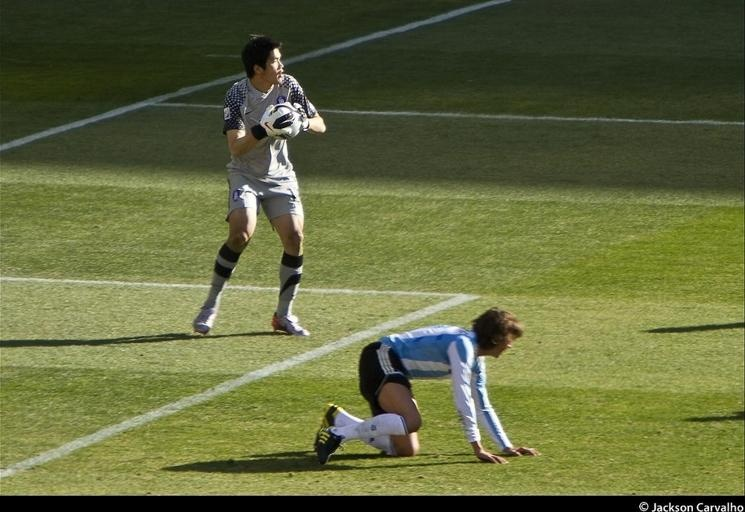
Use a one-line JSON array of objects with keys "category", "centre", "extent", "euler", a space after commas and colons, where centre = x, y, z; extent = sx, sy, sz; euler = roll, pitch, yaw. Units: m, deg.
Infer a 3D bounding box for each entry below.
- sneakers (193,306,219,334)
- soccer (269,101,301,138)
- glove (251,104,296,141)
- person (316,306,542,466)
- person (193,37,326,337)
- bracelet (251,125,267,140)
[{"category": "sneakers", "centre": [-1.497, 0.562, 10.499], "extent": [0.211, 0.110, 0.254], "euler": [21, 60, -2]}, {"category": "soccer", "centre": [-0.765, -1.168, 10.063], "extent": [0.284, 0.278, 0.267], "euler": [22, 58, 5]}, {"category": "glove", "centre": [-0.800, -1.159, 10.051], "extent": [0.486, 0.231, 0.251], "euler": [-4, 32, -5]}, {"category": "person", "centre": [0.644, 0.966, 8.776], "extent": [2.211, 1.087, 0.887], "euler": [-10, -16, 44]}, {"category": "person", "centre": [-0.979, -0.622, 10.453], "extent": [0.991, 2.646, 0.760], "euler": [6, 14, -4]}, {"category": "bracelet", "centre": [-0.982, -1.061, 10.068], "extent": [0.123, 0.094, 0.116], "euler": [30, 62, 37]}]
